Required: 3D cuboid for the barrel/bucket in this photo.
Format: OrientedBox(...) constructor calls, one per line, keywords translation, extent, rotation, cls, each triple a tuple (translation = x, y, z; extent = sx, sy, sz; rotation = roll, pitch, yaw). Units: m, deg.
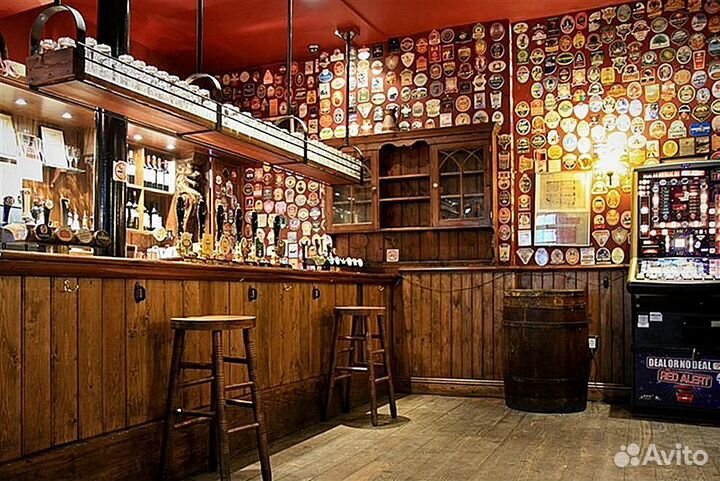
OrientedBox(translation=(1.902, 1.096, 6.412), extent=(1.072, 1.455, 1.030), rotation=(0, -3, 0), cls="barrel/bucket")
